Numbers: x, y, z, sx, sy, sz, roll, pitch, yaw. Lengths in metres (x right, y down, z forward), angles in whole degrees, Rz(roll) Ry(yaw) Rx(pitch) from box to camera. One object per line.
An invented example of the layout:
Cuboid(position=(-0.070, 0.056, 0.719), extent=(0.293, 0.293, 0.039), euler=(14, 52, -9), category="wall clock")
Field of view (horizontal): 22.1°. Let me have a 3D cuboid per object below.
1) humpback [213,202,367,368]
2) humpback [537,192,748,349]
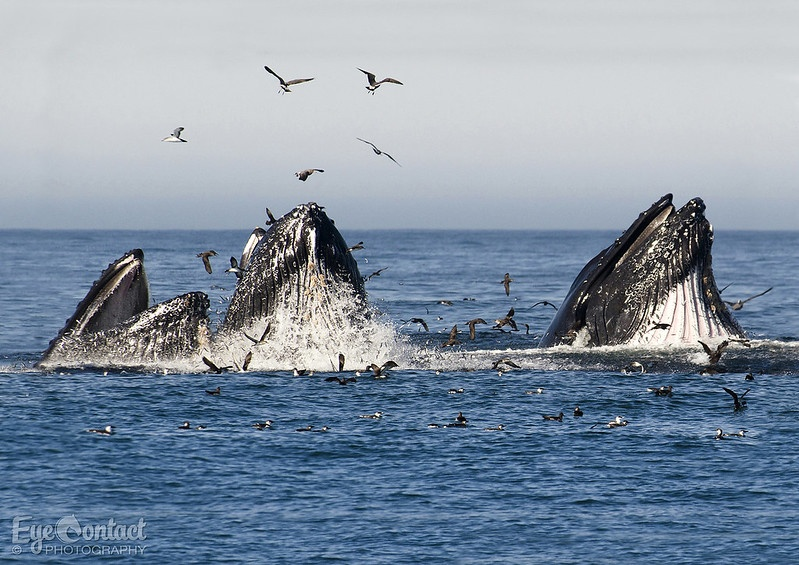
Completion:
Cuboid(position=(-2.070, -0.380, 40.842), extent=(2.852, 3.733, 1.286), euler=(1, 39, -10), category="humpback")
Cuboid(position=(5.413, -0.052, 42.611), extent=(4.310, 2.639, 6.027), euler=(-6, 4, -15), category="humpback")
